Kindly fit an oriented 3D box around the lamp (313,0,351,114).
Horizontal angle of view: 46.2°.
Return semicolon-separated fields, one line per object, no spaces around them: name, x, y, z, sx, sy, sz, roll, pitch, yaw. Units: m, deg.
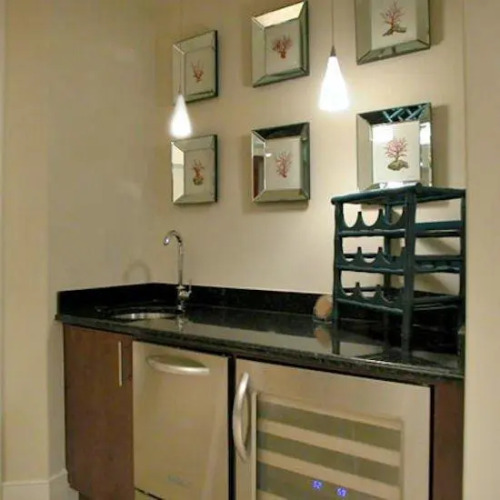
lamp;0.314;-0.735;2.192;0.121;0.429;0.264;-1;11;7

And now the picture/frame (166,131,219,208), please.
picture/frame;-0.251;-0.373;2.674;0.315;0.416;0.036;-1;-1;41

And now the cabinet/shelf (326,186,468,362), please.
cabinet/shelf;0.474;0.026;1.898;0.423;0.528;0.671;1;12;17

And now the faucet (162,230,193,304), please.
faucet;-0.324;0.082;2.626;0.111;0.357;0.416;-4;12;-7

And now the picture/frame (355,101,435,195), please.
picture/frame;0.531;-0.358;2.129;0.268;0.337;0.028;-3;-16;13

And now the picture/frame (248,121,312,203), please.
picture/frame;0.134;-0.360;2.390;0.290;0.386;0.046;-2;-3;36
